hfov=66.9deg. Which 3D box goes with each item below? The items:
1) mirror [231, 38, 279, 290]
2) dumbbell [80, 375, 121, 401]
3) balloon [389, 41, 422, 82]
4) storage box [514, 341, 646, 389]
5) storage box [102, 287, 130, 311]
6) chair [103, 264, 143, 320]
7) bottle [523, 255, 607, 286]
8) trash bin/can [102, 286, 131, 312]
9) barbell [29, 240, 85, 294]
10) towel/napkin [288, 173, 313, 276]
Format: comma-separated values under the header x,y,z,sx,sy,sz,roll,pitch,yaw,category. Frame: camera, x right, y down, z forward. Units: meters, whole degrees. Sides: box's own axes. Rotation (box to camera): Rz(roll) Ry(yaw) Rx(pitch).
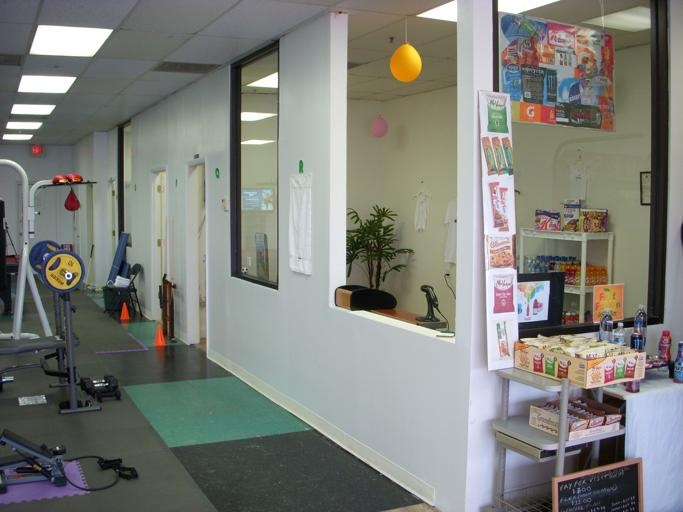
x,y,z,sx,sy,sz,roll,pitch,yaw,category
-0.957,-0.905,6.021,0.095,2.887,1.549,-2,6,-31,mirror
-2.658,1.442,5.675,0.277,0.165,0.362,2,0,-27,dumbbell
0.531,-1.586,4.250,0.270,0.360,0.283,7,15,43,balloon
1.478,0.605,3.405,0.787,0.273,0.517,3,4,-15,storage box
-4.421,0.794,10.067,0.494,0.409,0.464,2,-3,-26,storage box
-4.347,0.777,10.151,0.680,1.274,0.770,1,5,-28,chair
2.284,0.142,5.241,0.790,0.257,0.450,3,5,24,bottle
-4.420,0.855,10.149,0.504,0.428,0.488,1,-2,-5,trash bin/can
-3.142,0.110,5.599,0.406,0.513,1.392,-2,6,-35,barbell
-0.451,-0.296,5.211,0.091,1.039,0.683,-2,0,-24,towel/napkin
